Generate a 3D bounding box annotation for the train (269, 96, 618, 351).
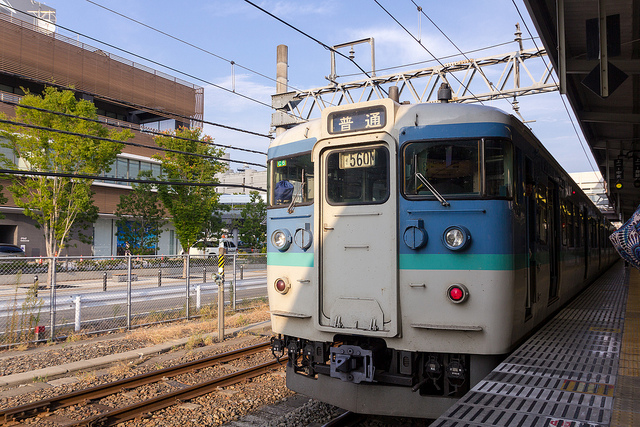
[{"bbox_3d":[1.606,0.162,10.303,5.108,4.490,2.038,0,3,-4],"label":"train"}]
